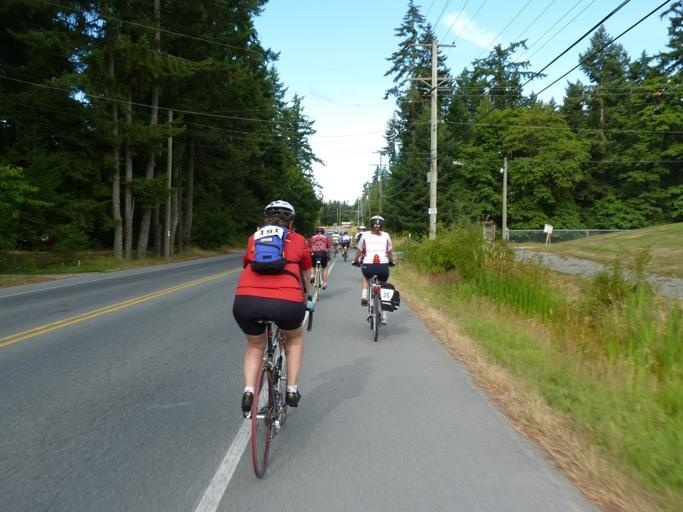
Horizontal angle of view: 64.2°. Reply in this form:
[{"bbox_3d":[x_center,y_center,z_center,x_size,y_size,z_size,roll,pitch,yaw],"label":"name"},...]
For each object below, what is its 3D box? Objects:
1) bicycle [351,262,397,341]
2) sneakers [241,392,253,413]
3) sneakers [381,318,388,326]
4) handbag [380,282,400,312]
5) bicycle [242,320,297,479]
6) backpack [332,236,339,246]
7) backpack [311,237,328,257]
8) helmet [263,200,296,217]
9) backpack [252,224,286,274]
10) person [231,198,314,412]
[{"bbox_3d":[0.650,0.795,10.819,0.835,1.262,1.928,1,6,-1],"label":"bicycle"},{"bbox_3d":[-0.916,1.443,5.291,0.121,0.230,0.130,-2,6,-6],"label":"sneakers"},{"bbox_3d":[0.808,1.255,10.304,0.114,0.060,0.220,1,-1,1],"label":"sneakers"},{"bbox_3d":[0.924,0.820,10.333,0.376,0.789,0.528,-3,-6,20],"label":"handbag"},{"bbox_3d":[-0.865,1.477,5.749,0.471,0.854,1.326,1,13,-1],"label":"bicycle"},{"bbox_3d":[-0.403,-1.044,36.770,0.463,0.614,0.545,7,8,42],"label":"backpack"},{"bbox_3d":[-0.614,-0.288,15.113,0.502,0.521,0.546,-2,6,-7],"label":"backpack"},{"bbox_3d":[-0.667,-0.520,5.910,0.183,0.184,0.264,2,8,5],"label":"helmet"},{"bbox_3d":[-0.742,-0.015,5.701,0.333,0.589,0.331,-1,-32,0],"label":"backpack"},{"bbox_3d":[-0.736,0.638,5.720,0.708,2.418,1.198,1,6,17],"label":"person"}]
